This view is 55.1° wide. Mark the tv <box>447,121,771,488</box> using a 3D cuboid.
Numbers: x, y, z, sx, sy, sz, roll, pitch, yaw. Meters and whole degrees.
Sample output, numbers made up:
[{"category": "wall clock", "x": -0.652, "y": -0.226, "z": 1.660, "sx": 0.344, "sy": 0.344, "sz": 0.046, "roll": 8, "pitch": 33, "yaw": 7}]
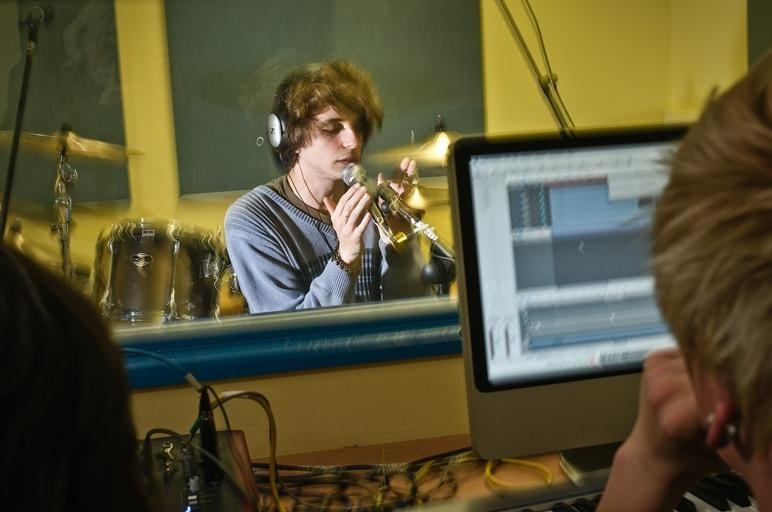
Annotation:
[{"category": "tv", "x": 0.289, "y": 0.057, "z": 0.984, "sx": 0.552, "sy": 0.535, "sz": 0.175, "roll": -3, "pitch": -3, "yaw": -13}]

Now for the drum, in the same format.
[{"category": "drum", "x": -0.430, "y": 0.030, "z": 1.394, "sx": 0.234, "sy": 0.178, "sz": 0.232, "roll": 2, "pitch": -16, "yaw": 1}]

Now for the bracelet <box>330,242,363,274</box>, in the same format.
[{"category": "bracelet", "x": -0.077, "y": 0.006, "z": 1.467, "sx": 0.052, "sy": 0.057, "sz": 0.015, "roll": -7, "pitch": -6, "yaw": -23}]
